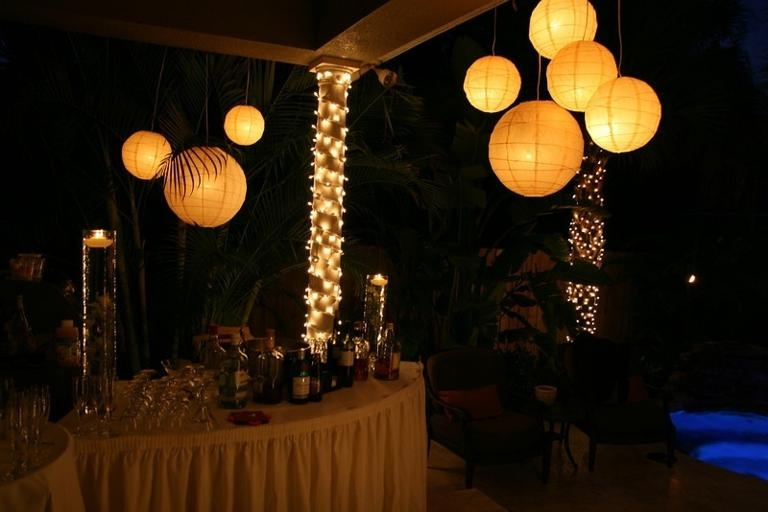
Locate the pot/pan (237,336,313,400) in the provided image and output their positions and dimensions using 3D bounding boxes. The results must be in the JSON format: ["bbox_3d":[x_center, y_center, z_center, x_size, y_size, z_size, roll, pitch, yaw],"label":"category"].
[{"bbox_3d":[-0.797,0.814,4.706,0.481,0.378,0.437,2,-2,-8],"label":"pot/pan"}]

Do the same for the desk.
[{"bbox_3d":[1.885,1.908,7.337,0.972,1.031,0.879,3,-7,-20],"label":"desk"}]

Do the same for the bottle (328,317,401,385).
[{"bbox_3d":[-0.169,0.799,5.221,0.490,0.393,0.166,3,-5,-37],"label":"bottle"}]

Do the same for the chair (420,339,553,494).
[{"bbox_3d":[1.097,1.731,6.878,1.019,1.351,1.298,-4,0,-14],"label":"chair"}]
